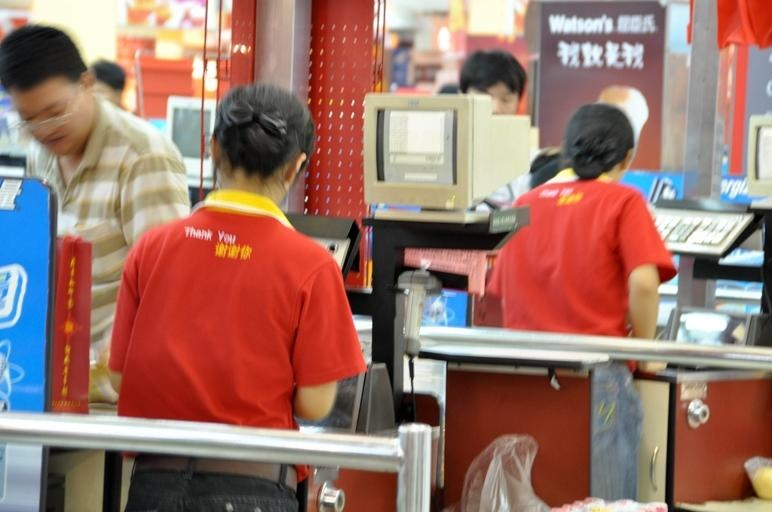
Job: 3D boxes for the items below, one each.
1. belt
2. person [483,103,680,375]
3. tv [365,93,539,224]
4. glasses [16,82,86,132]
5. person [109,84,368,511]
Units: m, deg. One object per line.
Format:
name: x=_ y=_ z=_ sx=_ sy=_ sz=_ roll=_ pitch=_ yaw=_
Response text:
belt: x=-0.568 y=0.702 z=2.961 sx=0.504 sy=0.123 sz=0.092 roll=0 pitch=6 yaw=3
person: x=0.885 y=-0.158 z=4.122 sx=0.816 sy=1.050 sz=0.339 roll=2 pitch=6 yaw=18
tv: x=0.266 y=-0.438 z=3.821 sx=0.705 sy=0.478 sz=0.280 roll=0 pitch=6 yaw=-1
glasses: x=-1.238 y=-0.551 z=3.398 sx=0.171 sy=0.130 sz=0.215 roll=-18 pitch=-17 yaw=1
person: x=-0.495 y=0.013 z=2.982 sx=0.833 sy=1.139 sz=0.249 roll=-1 pitch=5 yaw=-9
